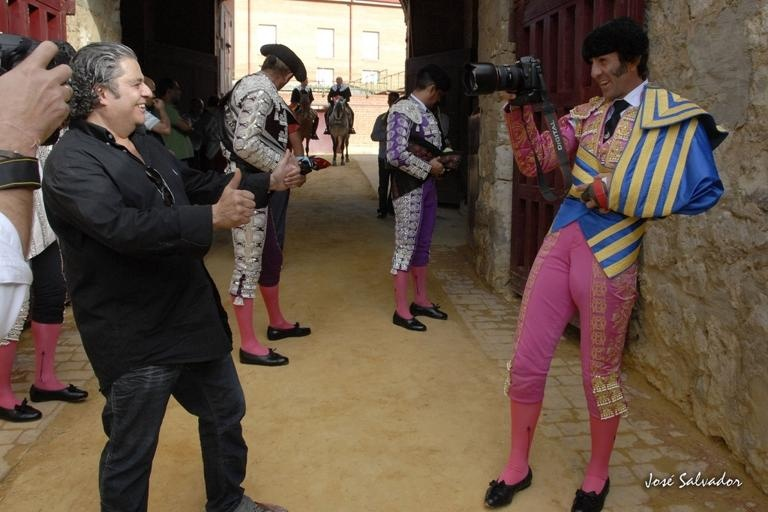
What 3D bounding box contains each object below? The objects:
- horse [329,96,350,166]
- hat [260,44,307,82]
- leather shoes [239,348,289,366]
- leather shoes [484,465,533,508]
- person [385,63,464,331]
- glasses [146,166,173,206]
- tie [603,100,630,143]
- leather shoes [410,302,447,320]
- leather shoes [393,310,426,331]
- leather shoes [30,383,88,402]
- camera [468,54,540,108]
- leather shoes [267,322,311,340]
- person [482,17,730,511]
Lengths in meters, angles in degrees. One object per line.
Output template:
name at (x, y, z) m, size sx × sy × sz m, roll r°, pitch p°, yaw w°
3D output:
horse at (-1.373, -3.988, 17.557) m, size 0.832 × 2.018 × 1.894 m, roll -2°, pitch 16°, yaw -5°
hat at (-0.717, -1.478, 4.218) m, size 0.357 × 0.092 × 0.354 m, roll 25°, pitch 14°, yaw -46°
leather shoes at (-0.927, 0.786, 4.315) m, size 0.358 × 0.122 × 0.136 m, roll 1°, pitch 2°, yaw -5°
leather shoes at (0.642, 1.198, 2.852) m, size 0.235 × 0.084 × 0.119 m, roll -19°, pitch 12°, yaw -31°
person at (0.310, -0.525, 4.997) m, size 0.643 × 2.283 × 0.684 m, roll 8°, pitch 18°, yaw 28°
glasses at (-0.942, -0.291, 2.366) m, size 0.045 × 0.171 × 0.096 m, roll -25°, pitch 12°, yaw 32°
tie at (1.132, -0.652, 2.690) m, size 0.048 × 0.194 × 0.107 m, roll 14°, pitch -20°, yaw -5°
leather shoes at (0.427, 0.516, 5.288) m, size 0.392 × 0.148 × 0.135 m, roll 7°, pitch 1°, yaw 6°
leather shoes at (0.230, 0.586, 5.059) m, size 0.328 × 0.116 × 0.120 m, roll 10°, pitch 10°, yaw 23°
leather shoes at (-2.178, 0.933, 3.718) m, size 0.388 × 0.133 × 0.138 m, roll 2°, pitch 0°, yaw -10°
camera at (0.634, -0.894, 2.828) m, size 0.338 × 0.197 × 0.324 m, roll -4°, pitch 12°, yaw -9°
leather shoes at (-0.836, 0.662, 4.850) m, size 0.387 × 0.137 × 0.136 m, roll -3°, pitch 4°, yaw -19°
person at (1.061, 0.096, 2.631) m, size 0.801 × 2.359 × 0.811 m, roll 10°, pitch 19°, yaw 31°
